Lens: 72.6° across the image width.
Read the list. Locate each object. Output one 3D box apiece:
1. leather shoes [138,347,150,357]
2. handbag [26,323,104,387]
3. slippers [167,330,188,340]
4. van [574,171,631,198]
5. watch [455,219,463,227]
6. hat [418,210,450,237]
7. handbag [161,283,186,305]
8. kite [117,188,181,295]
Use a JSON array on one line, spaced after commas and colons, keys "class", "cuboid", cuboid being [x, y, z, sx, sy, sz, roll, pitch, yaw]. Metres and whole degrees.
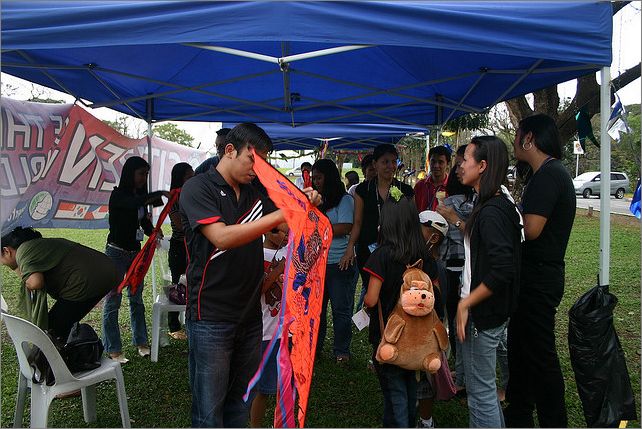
[{"class": "leather shoes", "cuboid": [-2.237, 1.742, 5.477, 0.167, 0.046, 0.076, 10, 3, -29]}, {"class": "handbag", "cuboid": [-2.193, 1.252, 3.762, 0.490, 0.362, 0.442, -25, 32, -32]}, {"class": "slippers", "cuboid": [-1.985, 1.683, 6.037, 0.157, 0.039, 0.163, 13, 15, 25]}, {"class": "van", "cuboid": [18.372, -1.923, 28.227, 4.371, 1.782, 2.569, 2, 1, -34]}, {"class": "watch", "cuboid": [1.388, 0.106, 4.362, 0.086, 0.084, 0.054, -22, 29, -39]}, {"class": "hat", "cuboid": [1.070, 0.066, 4.080, 0.281, 0.152, 0.220, 19, 5, 16]}, {"class": "handbag", "cuboid": [-1.831, 0.999, 5.480, 0.270, 0.242, 0.118, 5, 21, 43]}, {"class": "kite", "cuboid": [-2.086, 0.340, 5.243, 0.646, 1.325, 0.717, 2, 1, -22]}]
